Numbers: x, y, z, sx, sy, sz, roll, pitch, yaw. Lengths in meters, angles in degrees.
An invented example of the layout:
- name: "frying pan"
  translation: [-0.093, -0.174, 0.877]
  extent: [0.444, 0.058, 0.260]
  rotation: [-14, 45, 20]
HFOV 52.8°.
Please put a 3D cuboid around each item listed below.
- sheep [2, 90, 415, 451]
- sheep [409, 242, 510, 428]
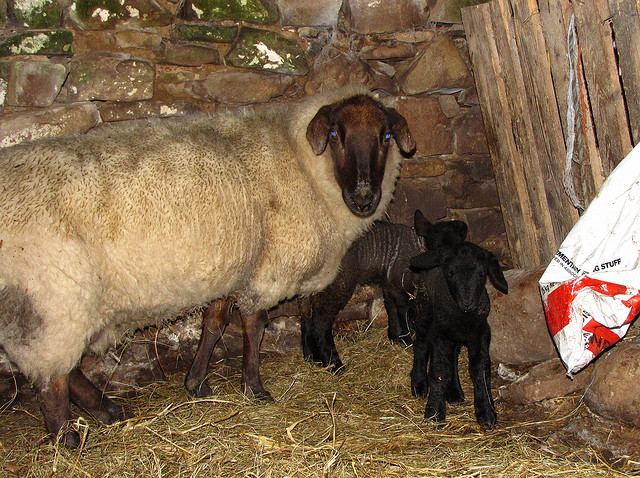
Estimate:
- name: "sheep"
  translation: [-0.925, 0.226, 4.827]
  extent: [2.295, 1.745, 0.900]
  rotation: [-8, 20, -31]
- name: "sheep"
  translation: [0.965, 0.672, 4.897]
  extent: [0.600, 1.285, 0.876]
  rotation: [-11, 17, -39]
